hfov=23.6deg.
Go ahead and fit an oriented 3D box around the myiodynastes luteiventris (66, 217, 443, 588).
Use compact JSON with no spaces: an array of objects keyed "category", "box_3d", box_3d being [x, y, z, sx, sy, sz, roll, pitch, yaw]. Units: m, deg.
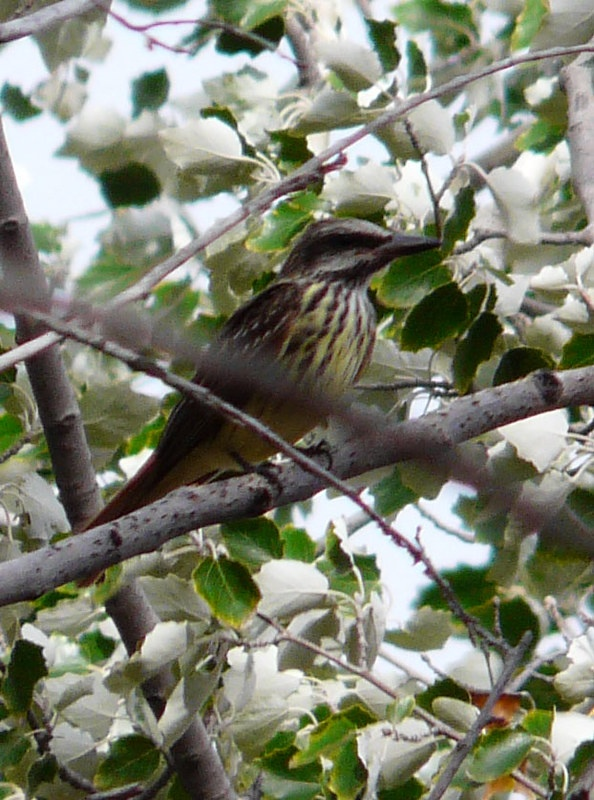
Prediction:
[{"category":"myiodynastes luteiventris","box_3d":[-0.123,-0.017,2.496,0.796,0.482,0.272,-10,-9,35]}]
